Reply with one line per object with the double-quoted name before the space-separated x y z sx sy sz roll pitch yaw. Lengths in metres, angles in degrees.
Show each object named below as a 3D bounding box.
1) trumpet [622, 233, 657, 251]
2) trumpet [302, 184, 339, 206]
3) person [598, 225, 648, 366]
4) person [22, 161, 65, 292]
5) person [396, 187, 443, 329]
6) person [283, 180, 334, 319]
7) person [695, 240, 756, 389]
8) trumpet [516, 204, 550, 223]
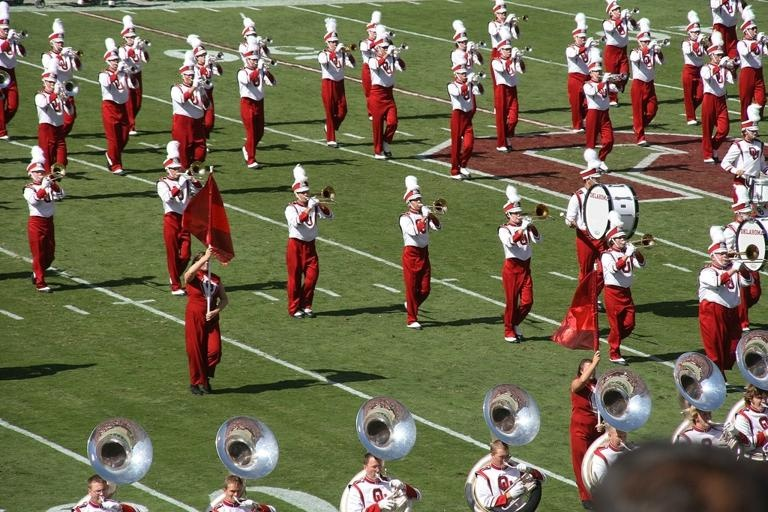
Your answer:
"trumpet" 4.233 -0.134 29.076 0.441 0.327 0.260 15 10 -23
"trumpet" -1.076 -1.048 30.428 0.647 0.236 0.351 0 -3 38
"person" 3.897 0.749 29.054 1.096 2.049 0.908 0 4 4
"person" -5.714 -0.497 30.526 1.027 2.222 1.300 -3 -1 -24
"person" 0.505 0.038 30.030 0.764 2.351 1.067 12 15 0
"person" -1.267 -0.077 30.030 1.129 2.199 1.083 -2 3 -31
"person" 5.470 0.962 28.785 1.194 2.282 1.150 0 9 22
"trumpet" 2.545 -0.687 29.340 0.310 0.199 0.508 3 2 -34
